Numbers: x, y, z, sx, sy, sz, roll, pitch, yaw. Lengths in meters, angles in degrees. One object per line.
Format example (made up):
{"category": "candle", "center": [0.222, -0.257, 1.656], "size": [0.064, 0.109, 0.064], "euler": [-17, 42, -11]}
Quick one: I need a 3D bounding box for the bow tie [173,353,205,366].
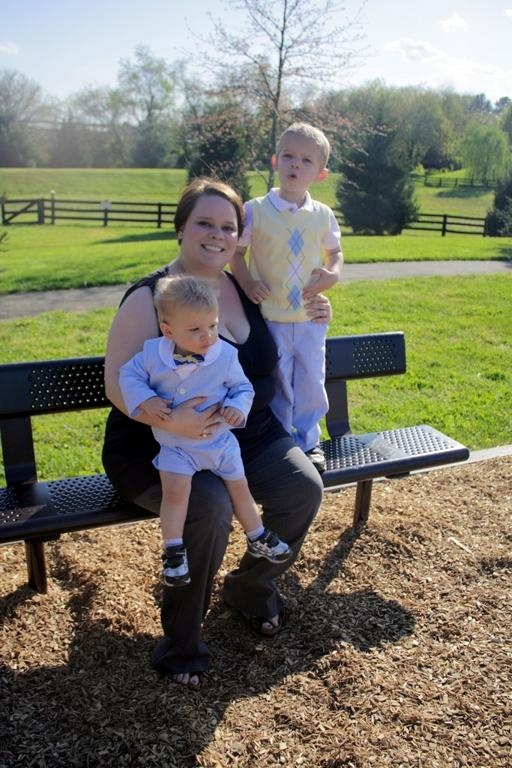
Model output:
{"category": "bow tie", "center": [-0.243, -0.098, 2.345], "size": [0.076, 0.038, 0.057], "euler": [-5, 11, -18]}

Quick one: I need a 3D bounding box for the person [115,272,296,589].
{"category": "person", "center": [-0.200, 0.167, 2.424], "size": [0.526, 1.116, 0.438], "euler": [-8, 16, -38]}

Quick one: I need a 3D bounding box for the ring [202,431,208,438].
{"category": "ring", "center": [-0.182, 0.177, 2.319], "size": [0.024, 0.016, 0.011], "euler": [-9, 20, -34]}

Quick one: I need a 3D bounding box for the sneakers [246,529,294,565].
{"category": "sneakers", "center": [0.052, 0.616, 2.553], "size": [0.195, 0.126, 0.100], "euler": [9, 17, 7]}

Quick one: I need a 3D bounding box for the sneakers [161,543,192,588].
{"category": "sneakers", "center": [-0.277, 0.617, 2.268], "size": [0.087, 0.150, 0.130], "euler": [1, 12, -5]}
